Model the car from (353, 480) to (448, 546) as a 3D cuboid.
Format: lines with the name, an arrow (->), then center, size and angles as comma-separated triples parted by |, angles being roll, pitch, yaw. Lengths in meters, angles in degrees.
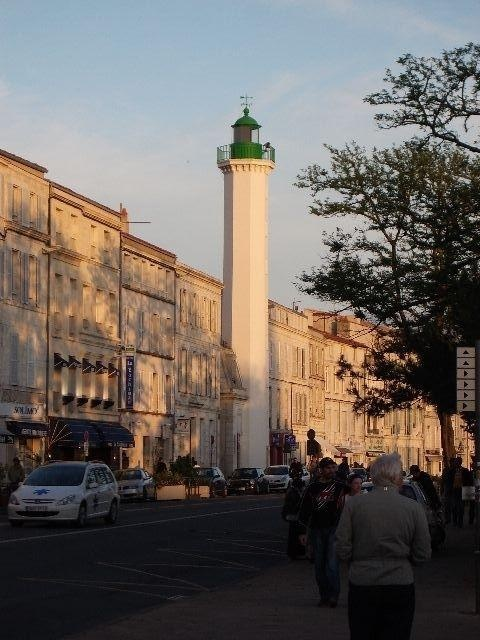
car -> 2.757, 3.399, 21.245 | 1.009, 1.275, 2.261 | -13, -15, 14
